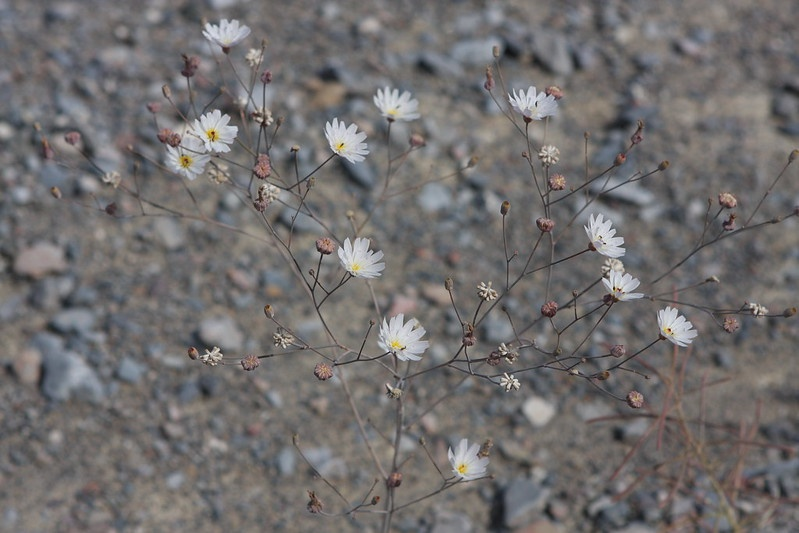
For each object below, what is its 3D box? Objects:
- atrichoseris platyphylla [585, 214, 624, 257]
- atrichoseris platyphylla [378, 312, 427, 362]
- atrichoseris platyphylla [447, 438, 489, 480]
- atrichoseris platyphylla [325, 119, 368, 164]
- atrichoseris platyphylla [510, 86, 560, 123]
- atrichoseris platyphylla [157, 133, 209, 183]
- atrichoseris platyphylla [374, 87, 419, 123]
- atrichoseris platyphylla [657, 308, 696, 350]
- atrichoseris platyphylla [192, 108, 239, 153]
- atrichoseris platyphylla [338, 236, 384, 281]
[{"bbox_3d":[1.261,-0.160,8.779,0.253,0.293,0.134,13,117,-9],"label":"atrichoseris platyphylla"},{"bbox_3d":[-0.020,0.448,8.592,0.321,0.369,0.193,17,102,4],"label":"atrichoseris platyphylla"},{"bbox_3d":[0.432,1.220,8.666,0.223,0.120,0.273,-7,80,-16],"label":"atrichoseris platyphylla"},{"bbox_3d":[-0.375,-0.807,8.892,0.330,0.378,0.137,2,68,12],"label":"atrichoseris platyphylla"},{"bbox_3d":[0.809,-1.038,8.924,0.265,0.277,0.150,-5,80,42],"label":"atrichoseris platyphylla"},{"bbox_3d":[-1.354,-0.679,8.935,0.268,0.407,0.264,32,87,2],"label":"atrichoseris platyphylla"},{"bbox_3d":[-0.026,-1.040,9.100,0.265,0.534,0.281,-11,86,0],"label":"atrichoseris platyphylla"},{"bbox_3d":[1.733,0.379,8.726,0.234,0.253,0.225,7,86,1],"label":"atrichoseris platyphylla"},{"bbox_3d":[-1.201,-0.880,8.852,0.249,0.242,0.133,-3,90,-29],"label":"atrichoseris platyphylla"},{"bbox_3d":[-0.278,-0.063,8.766,0.218,0.248,0.130,-10,63,40],"label":"atrichoseris platyphylla"}]
